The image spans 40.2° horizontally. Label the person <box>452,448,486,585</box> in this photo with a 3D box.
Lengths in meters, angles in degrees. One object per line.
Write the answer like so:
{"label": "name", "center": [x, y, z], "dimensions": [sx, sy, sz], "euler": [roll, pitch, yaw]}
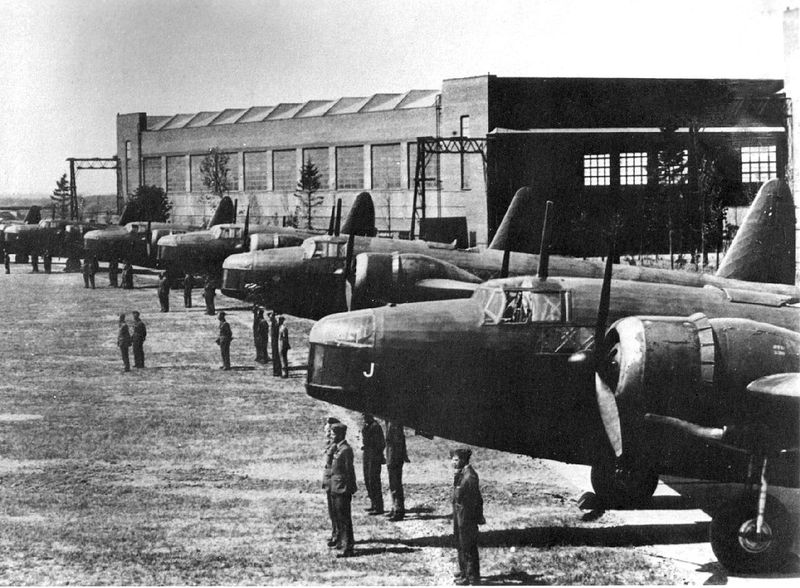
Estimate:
{"label": "person", "center": [1.501, 4.819, 24.036], "dimensions": [0.696, 2.836, 0.913], "euler": [2, 8, 4]}

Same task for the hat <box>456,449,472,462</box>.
{"label": "hat", "center": [1.378, 3.513, 24.076], "dimensions": [0.288, 0.268, 0.268], "euler": [7, 1, 26]}
